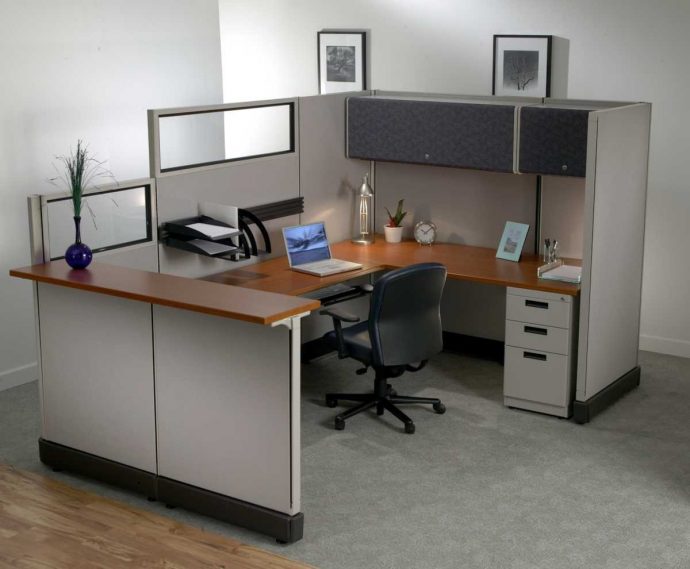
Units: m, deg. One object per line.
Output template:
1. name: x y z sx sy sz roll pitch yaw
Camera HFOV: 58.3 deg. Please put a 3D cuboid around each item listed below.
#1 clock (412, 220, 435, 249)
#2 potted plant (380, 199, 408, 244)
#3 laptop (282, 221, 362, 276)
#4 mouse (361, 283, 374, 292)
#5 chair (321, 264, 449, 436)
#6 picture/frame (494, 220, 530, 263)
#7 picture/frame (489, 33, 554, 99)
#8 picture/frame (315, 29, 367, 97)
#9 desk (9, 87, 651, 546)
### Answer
1. clock: 0.596 -0.390 4.715 0.165 0.181 0.039 -6 -1 25
2. potted plant: 0.380 -0.484 4.807 0.151 0.335 0.145 0 10 9
3. laptop: -0.165 -0.234 4.106 0.432 0.263 0.491 7 15 27
4. mouse: 0.133 0.028 3.823 0.040 0.021 0.056 -10 14 -35
5. chair: 0.193 0.333 3.731 0.686 1.005 0.722 7 13 30
6. picture/frame: 1.150 -0.298 4.310 0.168 0.231 0.136 12 42 0
7. picture/frame: 1.404 -1.743 4.880 0.638 0.691 0.030 10 15 37
8. picture/frame: -0.053 -2.078 5.778 0.434 0.606 0.056 0 42 -2
9. desk: 0.133 -0.183 3.602 3.481 2.075 2.004 -11 16 -44
